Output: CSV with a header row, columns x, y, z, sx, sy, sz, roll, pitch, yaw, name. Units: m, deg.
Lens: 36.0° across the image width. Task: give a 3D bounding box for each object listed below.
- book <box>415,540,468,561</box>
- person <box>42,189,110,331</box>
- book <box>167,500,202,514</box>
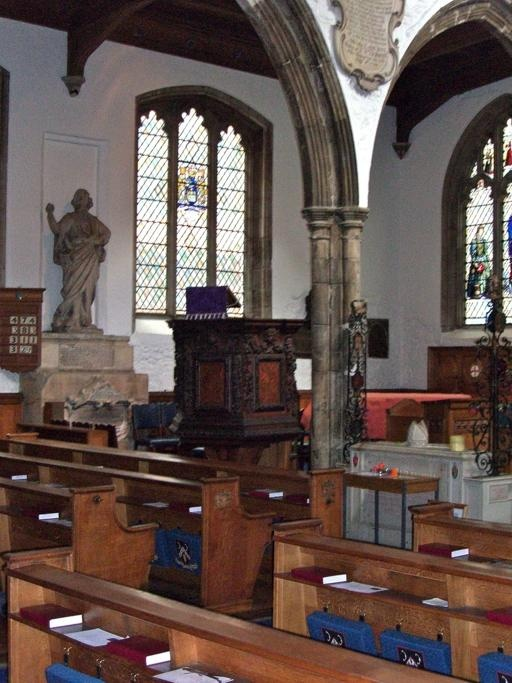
x,y,z,sx,sy,sz,roll,pitch,yaw,name
0.833,0.924,3.508,0.183,0.038,0.171,-1,2,2,book
-2.710,-1.211,11.882,0.860,2.178,0.353,2,-4,-31,person
-0.468,1.078,5.169,0.142,0.029,0.128,0,-3,35,book
